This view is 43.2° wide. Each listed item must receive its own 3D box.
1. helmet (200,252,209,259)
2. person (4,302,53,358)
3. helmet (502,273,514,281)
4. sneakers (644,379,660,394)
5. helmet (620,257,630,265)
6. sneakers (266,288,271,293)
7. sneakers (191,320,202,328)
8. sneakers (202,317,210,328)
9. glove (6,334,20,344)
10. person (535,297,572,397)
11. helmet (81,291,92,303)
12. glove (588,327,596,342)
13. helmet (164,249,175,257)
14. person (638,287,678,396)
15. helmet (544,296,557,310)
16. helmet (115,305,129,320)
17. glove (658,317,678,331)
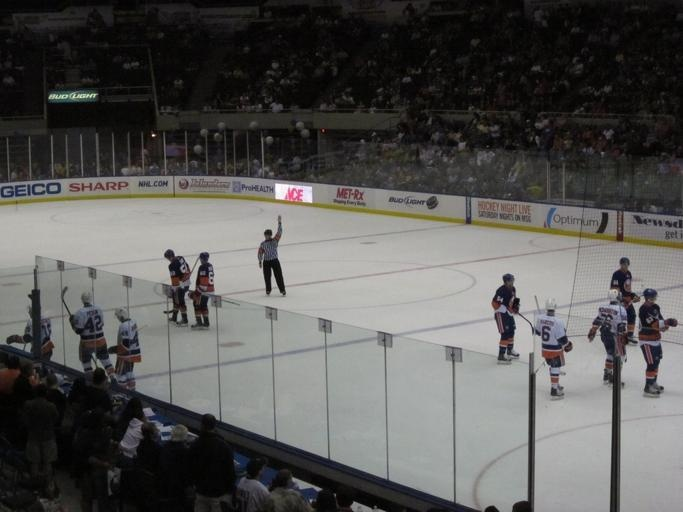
[{"bbox_3d":[-2.997,-0.001,18.858,0.210,0.131,0.285,1,6,-26],"label":"helmet"},{"bbox_3d":[-5.489,1.288,15.195,0.377,1.147,0.708,12,16,15],"label":"person"},{"bbox_3d":[3.270,0.430,17.104,0.190,0.173,0.148,-13,21,3],"label":"helmet"},{"bbox_3d":[5.070,2.197,14.172,0.331,0.210,0.113,-4,5,39],"label":"sneakers"},{"bbox_3d":[5.447,0.113,16.741,0.136,0.131,0.110,-10,20,6],"label":"helmet"},{"bbox_3d":[-1.755,0.846,20.547,0.113,0.113,0.085,-1,-1,32],"label":"sneakers"},{"bbox_3d":[-2.255,1.080,13.535,0.174,0.167,0.093,8,9,20],"label":"sneakers"},{"bbox_3d":[-2.101,1.036,13.451,0.072,0.166,0.189,-5,7,-37],"label":"sneakers"},{"bbox_3d":[-5.765,1.488,15.231,0.222,0.183,0.176,3,7,33],"label":"glove"},{"bbox_3d":[3.424,1.509,14.151,0.594,1.554,0.740,1,6,13],"label":"person"},{"bbox_3d":[-4.321,0.707,14.722,0.147,0.185,0.183,0,30,-8],"label":"helmet"},{"bbox_3d":[4.132,1.307,14.312,0.136,0.258,0.352,1,6,16],"label":"glove"},{"bbox_3d":[-4.035,-0.053,20.245,0.200,0.182,0.153,-14,22,-30],"label":"helmet"},{"bbox_3d":[5.162,1.432,14.286,0.523,1.706,1.121,1,6,19],"label":"person"},{"bbox_3d":[3.361,0.782,14.174,0.255,0.257,0.208,2,2,24],"label":"helmet"},{"bbox_3d":[-3.624,0.959,14.309,0.166,0.241,0.234,-5,29,-25],"label":"helmet"},{"bbox_3d":[5.275,1.105,14.064,0.241,0.190,0.432,2,6,20],"label":"glove"}]
